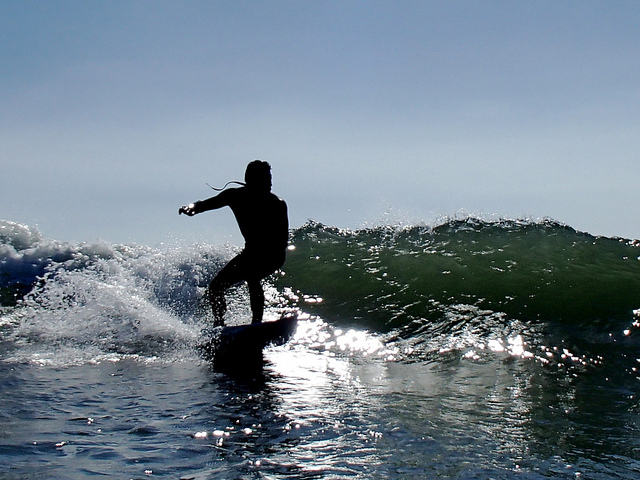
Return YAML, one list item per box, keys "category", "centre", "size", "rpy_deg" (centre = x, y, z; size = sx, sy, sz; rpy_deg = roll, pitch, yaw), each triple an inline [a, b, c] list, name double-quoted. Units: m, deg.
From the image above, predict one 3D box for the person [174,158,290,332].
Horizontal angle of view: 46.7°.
- category: "person"
  centre: [-1.121, 0.147, 10.921]
  size: [1.274, 2.571, 0.515]
  rpy_deg: [0, 17, -12]
